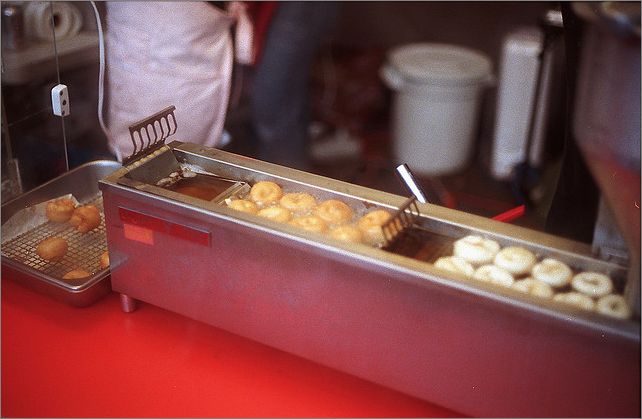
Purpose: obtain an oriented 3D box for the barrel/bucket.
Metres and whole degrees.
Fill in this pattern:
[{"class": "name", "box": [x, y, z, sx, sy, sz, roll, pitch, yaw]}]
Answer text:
[{"class": "barrel/bucket", "box": [0.426, -0.380, 1.742, 0.422, 0.404, 0.344, -4, 39, -1]}]
